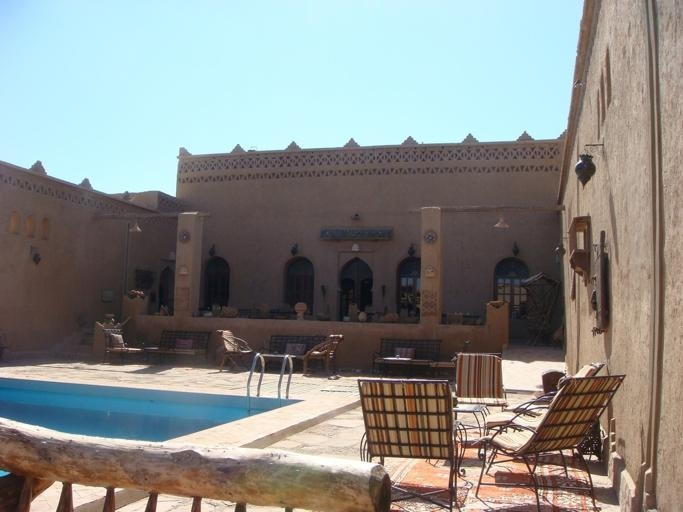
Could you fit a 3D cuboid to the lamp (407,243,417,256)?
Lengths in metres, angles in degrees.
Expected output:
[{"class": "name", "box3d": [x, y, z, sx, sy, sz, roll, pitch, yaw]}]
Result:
[{"class": "lamp", "box3d": [2.236, -0.204, 19.561, 0.255, 0.400, 0.127, -1, -3, 15]}]

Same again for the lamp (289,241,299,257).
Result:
[{"class": "lamp", "box3d": [-1.532, -0.207, 20.600, 0.232, 0.422, 0.162, 4, -3, 8]}]

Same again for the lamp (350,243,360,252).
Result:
[{"class": "lamp", "box3d": [0.457, -0.274, 20.030, 0.262, 0.260, 0.154, 0, -6, 4]}]

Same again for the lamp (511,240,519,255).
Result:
[{"class": "lamp", "box3d": [5.279, -0.244, 18.737, 0.258, 0.210, 0.825, -1, -14, 9]}]

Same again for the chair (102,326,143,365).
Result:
[{"class": "chair", "box3d": [-5.590, 2.278, 15.645, 0.987, 1.011, 0.890, -2, -4, 23]}]

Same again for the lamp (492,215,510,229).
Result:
[{"class": "lamp", "box3d": [4.715, -0.989, 18.223, 0.461, 0.517, 0.463, 1, -5, -37]}]

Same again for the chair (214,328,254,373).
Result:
[{"class": "chair", "box3d": [-2.680, 2.274, 14.839, 0.964, 1.353, 0.991, -4, -5, 22]}]

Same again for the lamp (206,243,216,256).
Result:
[{"class": "lamp", "box3d": [-4.504, -0.196, 21.515, 0.380, 0.425, 0.115, -3, -7, 34]}]

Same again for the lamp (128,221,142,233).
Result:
[{"class": "lamp", "box3d": [-6.334, -0.873, 18.862, 0.358, 0.420, 0.370, -1, -11, 7]}]
